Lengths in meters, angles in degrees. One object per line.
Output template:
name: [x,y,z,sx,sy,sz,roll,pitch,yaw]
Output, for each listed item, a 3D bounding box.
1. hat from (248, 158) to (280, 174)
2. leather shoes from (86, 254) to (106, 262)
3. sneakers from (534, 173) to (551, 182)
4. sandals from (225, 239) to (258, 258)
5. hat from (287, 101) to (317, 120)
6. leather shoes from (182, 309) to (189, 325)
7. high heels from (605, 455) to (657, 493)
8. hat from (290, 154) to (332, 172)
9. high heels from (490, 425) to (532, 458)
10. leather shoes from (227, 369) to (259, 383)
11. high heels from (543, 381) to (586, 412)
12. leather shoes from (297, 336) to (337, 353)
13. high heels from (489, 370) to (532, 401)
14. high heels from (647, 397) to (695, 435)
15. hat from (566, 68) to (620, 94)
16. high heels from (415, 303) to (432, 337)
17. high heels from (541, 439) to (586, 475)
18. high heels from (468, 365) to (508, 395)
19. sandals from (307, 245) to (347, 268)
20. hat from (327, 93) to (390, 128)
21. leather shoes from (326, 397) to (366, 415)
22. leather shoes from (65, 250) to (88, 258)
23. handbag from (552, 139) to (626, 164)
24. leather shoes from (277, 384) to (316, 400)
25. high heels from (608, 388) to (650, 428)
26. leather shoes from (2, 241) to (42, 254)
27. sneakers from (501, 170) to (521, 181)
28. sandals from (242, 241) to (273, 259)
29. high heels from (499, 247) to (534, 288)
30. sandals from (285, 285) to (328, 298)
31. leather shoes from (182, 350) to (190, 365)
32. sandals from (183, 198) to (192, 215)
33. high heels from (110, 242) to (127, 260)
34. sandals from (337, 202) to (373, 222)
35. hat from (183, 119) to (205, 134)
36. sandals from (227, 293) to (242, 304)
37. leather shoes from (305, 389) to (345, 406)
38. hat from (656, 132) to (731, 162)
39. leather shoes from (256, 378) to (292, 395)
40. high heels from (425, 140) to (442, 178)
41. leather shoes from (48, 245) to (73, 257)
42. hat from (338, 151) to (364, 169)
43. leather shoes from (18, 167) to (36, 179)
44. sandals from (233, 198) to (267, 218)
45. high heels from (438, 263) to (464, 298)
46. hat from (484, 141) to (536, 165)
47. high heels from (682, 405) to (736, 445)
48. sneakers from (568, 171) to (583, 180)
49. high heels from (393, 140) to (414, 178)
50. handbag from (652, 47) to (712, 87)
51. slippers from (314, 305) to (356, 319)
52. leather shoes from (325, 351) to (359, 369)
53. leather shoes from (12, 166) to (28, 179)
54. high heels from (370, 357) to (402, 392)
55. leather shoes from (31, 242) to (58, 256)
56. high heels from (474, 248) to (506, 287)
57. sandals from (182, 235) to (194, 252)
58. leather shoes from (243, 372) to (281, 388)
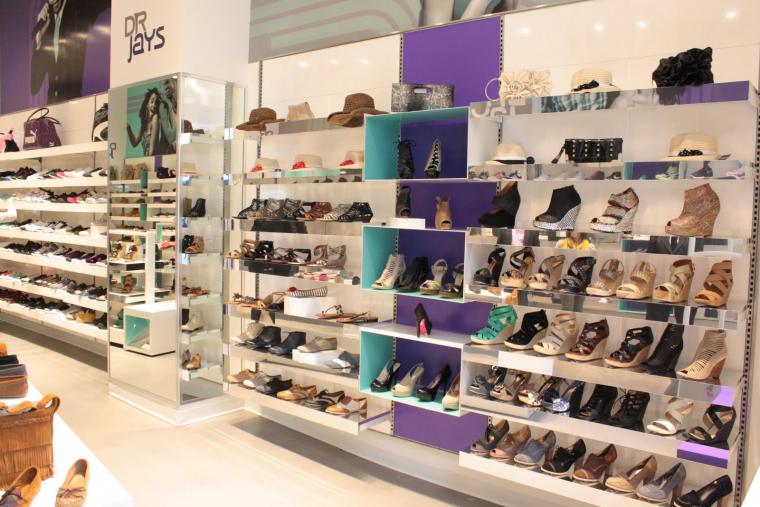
hat: [-1.172,-0.859,5.322,0.239,0.150,0.224,-1,3,1]
leather shoes: [-3.711,0.056,6.904,0.368,0.127,0.134,2,0,31]
sneakers: [1.186,-0.549,3.813,0.121,0.048,0.039,6,9,31]
sandals: [-1.432,-0.052,5.295,0.176,0.175,0.473,4,1,39]
hat: [-0.779,-1.411,5.117,0.381,0.233,0.139,13,19,31]
leather shoes: [-2.048,0.664,5.487,0.026,0.170,0.083,12,15,39]
high heels: [1.764,1.562,3.701,0.421,0.178,0.169,-3,-4,-32]
hat: [-0.702,-0.885,5.078,0.267,0.090,0.264,5,8,25]
high heels: [1.007,1.466,3.996,0.399,0.154,0.144,-14,-4,-41]
leather shoes: [-1.389,1.256,5.364,0.337,0.126,0.119,2,-1,-42]
high heels: [1.371,1.082,3.928,0.326,0.218,0.172,5,-6,-39]
leather shoes: [-0.596,0.885,5.046,0.312,0.097,0.142,4,-6,-44]
high heels: [1.013,1.009,4.040,0.160,0.108,0.373,-4,6,37]
high heels: [1.957,1.108,3.554,0.461,0.169,0.154,-8,6,-40]
hat: [1.500,-1.237,3.696,0.283,0.111,0.214,5,16,34]
high heels: [0.368,0.561,4.433,0.125,0.233,0.214,2,11,-1]
high heels: [1.364,1.504,3.900,0.423,0.170,0.166,-3,-2,-42]
high heels: [0.866,1.009,4.147,0.155,0.149,0.402,-6,-2,37]
sandals: [-0.485,0.034,5.004,0.202,0.130,0.318,-1,-4,37]
hat: [-0.239,-1.264,4.650,0.318,0.189,0.431,7,14,37]
leather shoes: [-0.302,1.406,4.770,0.379,0.148,0.272,1,11,-4]
leather shoes: [-4.162,0.017,7.143,0.216,0.072,0.155,5,-3,-15]
handbag: [1.516,-0.707,3.732,0.311,0.120,0.228,2,6,30]
leather shoes: [-0.778,1.356,5.049,0.144,0.099,0.312,-3,-5,40]
high heels: [1.757,1.078,3.670,0.219,0.223,0.332,9,13,31]
leather shoes: [-5.451,-0.085,7.964,0.535,0.198,0.159,6,4,24]
sneakers: [0.988,-0.589,3.900,0.150,0.056,0.046,1,2,41]
sandals: [-1.229,-0.037,5.236,0.209,0.088,0.261,1,-3,21]
high heels: [1.077,0.102,4.037,0.167,0.157,0.451,0,21,30]
sandals: [-0.688,0.375,4.968,0.274,0.090,0.153,-2,-1,-6]
leather shoes: [-2.031,1.109,5.465,0.105,0.165,0.058,-5,14,-32]
sandals: [-2.008,-0.485,5.420,0.030,0.185,0.117,11,14,35]
high heels: [-2.959,-0.029,5.887,0.120,0.134,0.353,1,-3,-37]
sandals: [-0.200,-0.376,4.730,0.436,0.175,0.139,4,7,39]
hat: [-1.925,-1.322,5.392,0.151,0.153,0.119,-3,7,-36]
sandals: [-1.517,0.477,5.475,0.130,0.084,0.181,0,2,-32]
leather shoes: [-0.512,1.344,4.891,0.279,0.094,0.139,0,-7,-39]
hat: [2.094,-0.708,3.435,0.329,0.178,0.195,8,12,26]
leather shoes: [-1.024,1.303,5.133,0.133,0.133,0.364,-1,-4,42]
high heels: [0.427,-0.784,4.403,0.127,0.371,0.138,9,0,16]
leather shoes: [-4.592,-0.029,7.517,0.368,0.125,0.256,7,5,3]
hat: [-0.256,-0.867,4.799,0.241,0.108,0.318,1,12,0]
leather shoes: [-5.442,-1.253,8.022,0.242,0.123,0.324,3,4,28]
sandals: [-1.305,-0.461,5.338,0.447,0.178,0.150,5,7,43]
high heels: [0.607,0.216,4.345,0.184,0.221,0.413,5,11,10]
hat: [1.035,-0.757,4.071,0.228,0.111,0.305,6,8,28]
high heels: [2.190,1.121,3.450,0.220,0.225,0.318,13,15,42]
sneakers: [1.397,-0.562,3.724,0.066,0.076,0.197,0,-1,26]
high heels: [0.225,-0.811,4.473,0.139,0.323,0.234,2,11,-1]
handbag: [2.005,-1.231,3.486,0.373,0.241,0.148,-16,6,31]
slippers: [-0.407,0.544,4.910,0.294,0.065,0.143,3,-3,-39]
leather shoes: [-0.337,1.014,4.860,0.131,0.111,0.293,-7,-10,40]
leather shoes: [-5.552,-1.257,8.085,0.174,0.212,0.561,-2,4,-41]
high heels: [0.078,1.083,4.642,0.134,0.152,0.372,-1,19,37]
leather shoes: [-4.961,-0.058,7.706,0.157,0.177,0.473,0,-8,39]
high heels: [0.902,0.103,4.154,0.147,0.152,0.427,11,35,30]
sandals: [-2.007,-0.108,5.455,0.133,0.178,0.029,-8,16,-42]
leather shoes: [-1.191,1.290,5.245,0.379,0.129,0.145,2,-4,-45]
